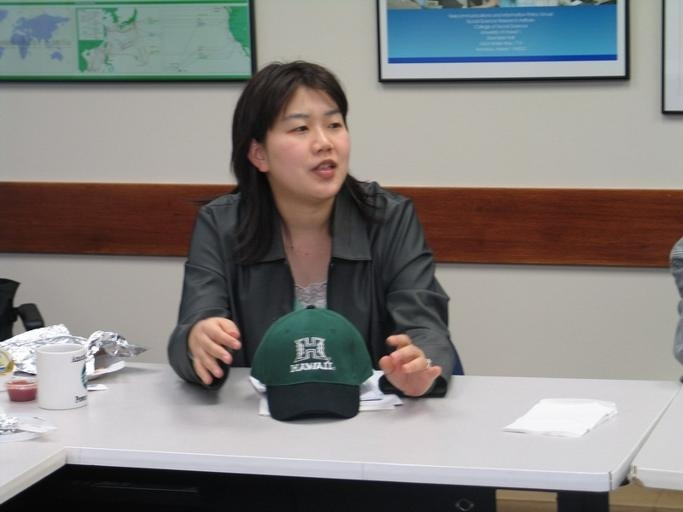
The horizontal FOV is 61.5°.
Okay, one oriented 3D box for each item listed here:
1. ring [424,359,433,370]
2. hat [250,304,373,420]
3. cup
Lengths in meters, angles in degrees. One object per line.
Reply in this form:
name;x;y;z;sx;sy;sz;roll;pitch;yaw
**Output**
ring;0.197;0.248;1.309;0.021;0.026;0.028;1;-3;-1
hat;-0.065;0.208;1.243;0.196;0.108;0.254;0;27;-1
cup;-0.630;0.280;1.355;0.147;0.121;0.109;0;1;31
